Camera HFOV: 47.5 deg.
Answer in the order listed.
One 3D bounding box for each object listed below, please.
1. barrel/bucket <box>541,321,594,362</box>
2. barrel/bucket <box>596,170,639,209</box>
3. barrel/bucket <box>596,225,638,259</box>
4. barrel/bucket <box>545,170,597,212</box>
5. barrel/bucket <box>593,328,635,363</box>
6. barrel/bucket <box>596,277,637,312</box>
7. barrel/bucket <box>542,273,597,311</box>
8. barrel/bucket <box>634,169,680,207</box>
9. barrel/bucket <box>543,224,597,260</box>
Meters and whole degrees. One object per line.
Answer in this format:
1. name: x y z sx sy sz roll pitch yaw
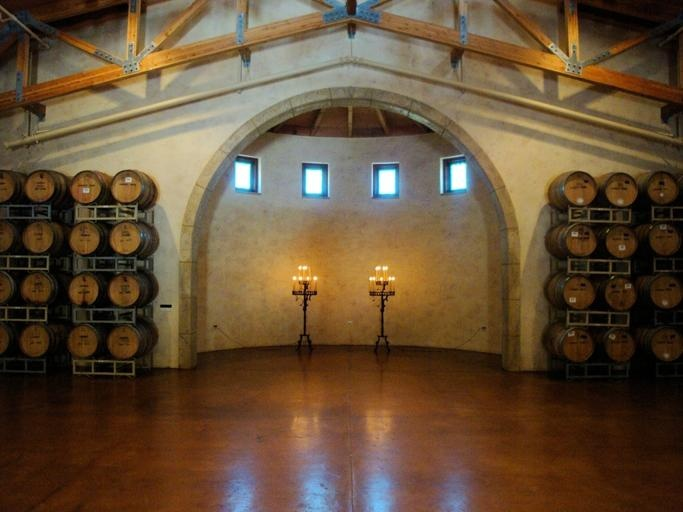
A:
1. barrel/bucket: 3.593 1.382 12.460 0.774 0.610 0.375 -2 -5 23
2. barrel/bucket: 4.390 -1.100 12.591 0.557 0.572 0.591 -2 4 0
3. barrel/bucket: 4.387 -0.242 12.442 0.541 0.524 0.294 0 -5 -6
4. barrel/bucket: 3.649 -1.103 12.600 0.633 0.651 0.697 -2 9 -5
5. barrel/bucket: 4.374 1.427 12.433 0.597 0.556 0.311 -1 -5 7
6. barrel/bucket: 4.385 0.599 12.436 0.600 0.557 0.319 -1 -5 7
7. barrel/bucket: 3.623 0.552 12.518 0.782 0.623 0.443 -2 -5 25
8. barrel/bucket: 5.066 -1.129 12.510 0.587 0.492 0.253 -2 -5 21
9. barrel/bucket: 3.640 -0.259 12.646 0.597 0.617 0.899 -14 1 10
